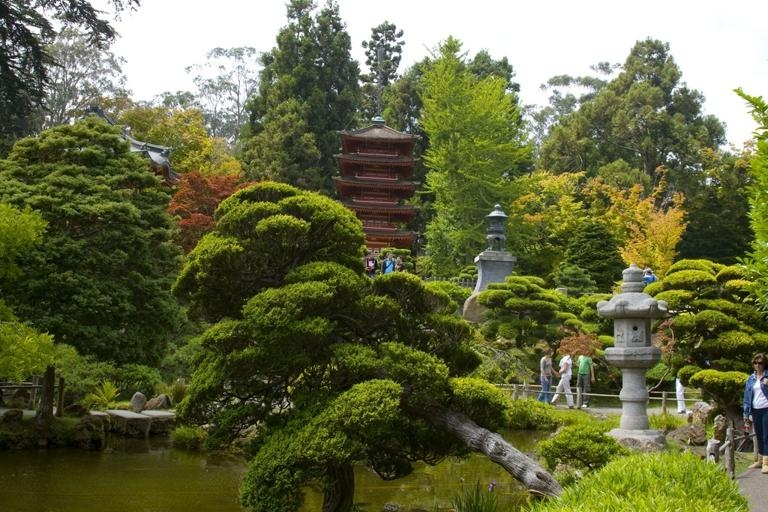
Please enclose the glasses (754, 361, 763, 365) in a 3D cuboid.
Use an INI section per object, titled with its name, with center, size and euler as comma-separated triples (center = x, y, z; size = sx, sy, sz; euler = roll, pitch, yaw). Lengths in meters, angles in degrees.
[glasses]
center = 8.256, 2.363, 18.610
size = 0.182, 0.082, 0.083
euler = -1, -13, 23
